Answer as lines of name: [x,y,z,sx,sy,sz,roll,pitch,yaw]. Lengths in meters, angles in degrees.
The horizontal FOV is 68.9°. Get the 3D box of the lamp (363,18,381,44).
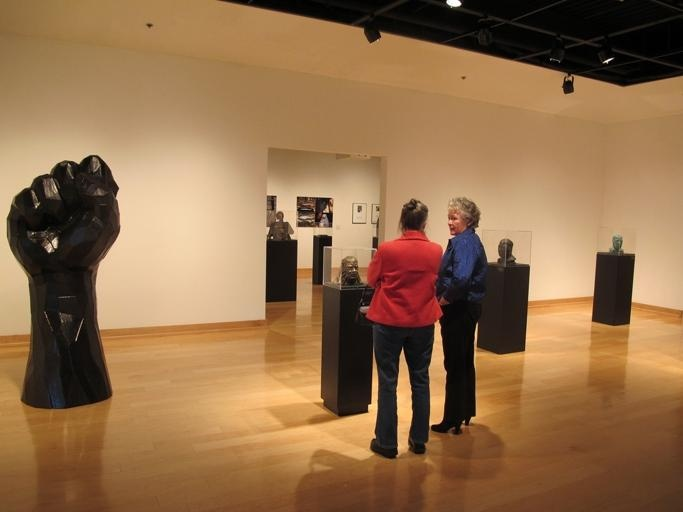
lamp: [0.413,-3.141,6.887,0.212,0.438,0.308,-6,18,19]

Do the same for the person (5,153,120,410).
person: [-2.928,0.255,5.305,0.981,2.643,0.516,-3,8,-30]

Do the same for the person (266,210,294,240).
person: [-1.401,-0.704,11.255,0.558,0.559,1.248,1,8,-7]

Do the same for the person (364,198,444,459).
person: [0.548,0.661,4.431,0.672,2.318,0.355,2,7,3]
